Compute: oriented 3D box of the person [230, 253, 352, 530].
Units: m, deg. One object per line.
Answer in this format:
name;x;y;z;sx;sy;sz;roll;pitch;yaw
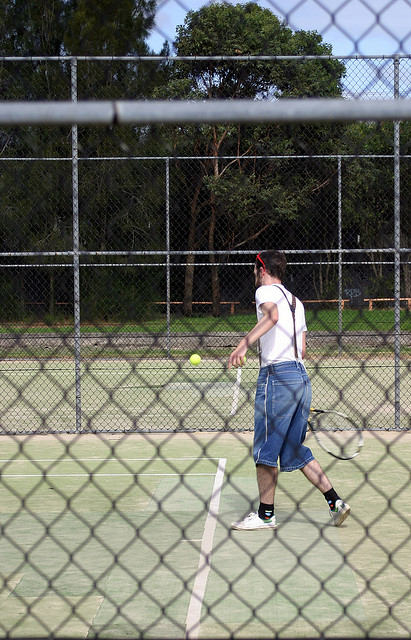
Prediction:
person;0.520;0.434;4.402;0.655;1.722;1.062;4;-6;9
